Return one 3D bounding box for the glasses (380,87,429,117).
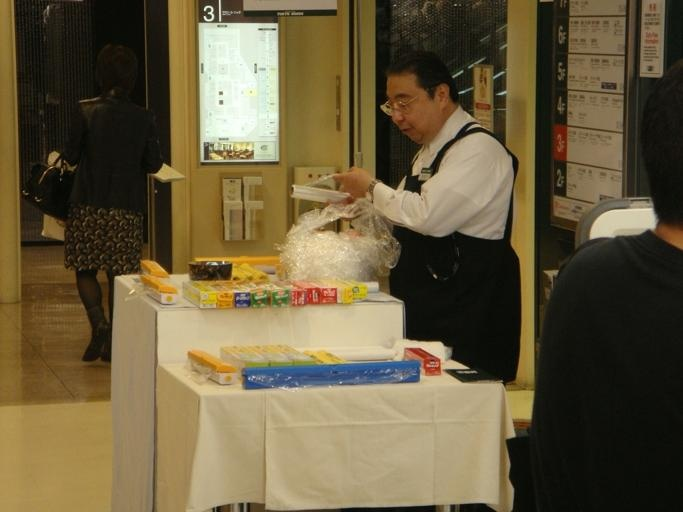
[{"bbox_3d":[0.284,-0.674,3.028,0.120,0.043,0.118,-35,13,-20],"label":"glasses"}]

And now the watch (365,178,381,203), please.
[{"bbox_3d":[0.150,-0.289,3.054,0.059,0.103,0.086,2,10,-35],"label":"watch"}]
